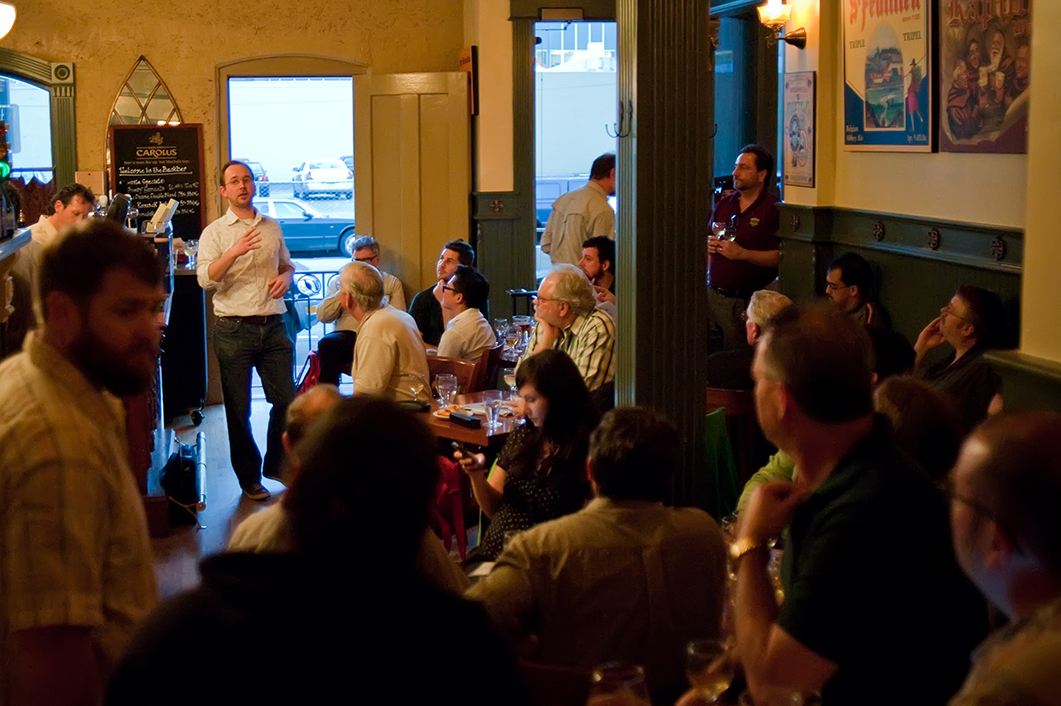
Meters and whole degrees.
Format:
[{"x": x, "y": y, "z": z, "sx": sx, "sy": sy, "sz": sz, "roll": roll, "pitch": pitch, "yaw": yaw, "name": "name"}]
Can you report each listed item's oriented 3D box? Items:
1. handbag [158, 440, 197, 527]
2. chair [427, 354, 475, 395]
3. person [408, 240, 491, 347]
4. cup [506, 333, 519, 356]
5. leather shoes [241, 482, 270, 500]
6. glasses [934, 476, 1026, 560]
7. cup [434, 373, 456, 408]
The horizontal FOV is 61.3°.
[{"x": -2.344, "y": 0.859, "z": 6.071, "sx": 0.206, "sy": 0.455, "sz": 0.492, "roll": -2, "pitch": -2, "yaw": -24, "name": "handbag"}, {"x": -0.490, "y": 0.143, "z": 5.687, "sx": 0.218, "sy": 0.394, "sz": 0.264, "roll": 1, "pitch": -4, "yaw": -3, "name": "chair"}, {"x": -0.743, "y": -0.455, "z": 7.203, "sx": 0.540, "sy": 0.893, "sz": 0.487, "roll": 13, "pitch": -6, "yaw": 10, "name": "person"}, {"x": -0.126, "y": -0.048, "z": 6.461, "sx": 0.107, "sy": 0.138, "sz": 0.112, "roll": 0, "pitch": 13, "yaw": 0, "name": "cup"}, {"x": -1.897, "y": 0.968, "z": 6.209, "sx": 0.089, "sy": 0.083, "sz": 0.195, "roll": -2, "pitch": 4, "yaw": -41, "name": "leather shoes"}, {"x": 0.829, "y": 0.295, "z": 1.640, "sx": 0.092, "sy": 0.040, "sz": 0.111, "roll": 44, "pitch": 8, "yaw": 6, "name": "glasses"}, {"x": -0.490, "y": 0.229, "z": 5.251, "sx": 0.144, "sy": 0.242, "sz": 0.156, "roll": 0, "pitch": 0, "yaw": 0, "name": "cup"}]
